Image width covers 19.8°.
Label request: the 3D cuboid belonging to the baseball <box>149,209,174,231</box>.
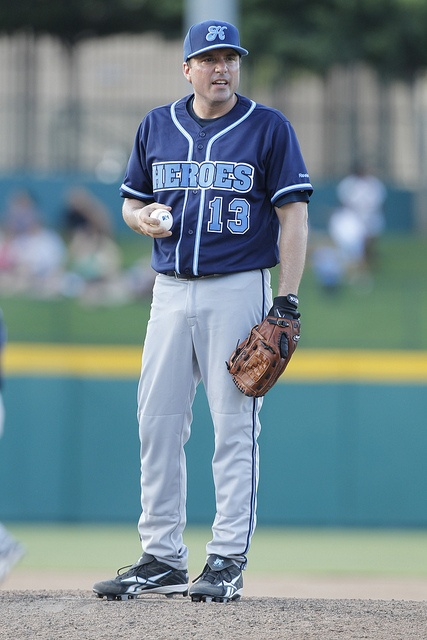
[{"bbox_3d":[-0.177,-0.353,4.228,0.030,0.073,0.073,-8,-25,24],"label":"baseball"}]

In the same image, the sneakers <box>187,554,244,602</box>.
[{"bbox_3d":[0.024,0.911,4.287,0.122,0.157,0.325,3,0,26],"label":"sneakers"}]

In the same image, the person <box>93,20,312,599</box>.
[{"bbox_3d":[-0.023,-0.022,4.333,0.689,2.049,0.414,3,4,3],"label":"person"}]

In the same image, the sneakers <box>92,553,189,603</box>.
[{"bbox_3d":[-0.258,0.938,4.399,0.365,0.177,0.134,3,-8,-6],"label":"sneakers"}]

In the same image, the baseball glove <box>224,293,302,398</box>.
[{"bbox_3d":[0.164,0.086,4.296,0.215,0.375,0.146,30,-4,-26],"label":"baseball glove"}]

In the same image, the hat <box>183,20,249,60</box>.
[{"bbox_3d":[-0.001,-0.990,4.270,0.205,0.133,0.268,-10,17,-9],"label":"hat"}]
